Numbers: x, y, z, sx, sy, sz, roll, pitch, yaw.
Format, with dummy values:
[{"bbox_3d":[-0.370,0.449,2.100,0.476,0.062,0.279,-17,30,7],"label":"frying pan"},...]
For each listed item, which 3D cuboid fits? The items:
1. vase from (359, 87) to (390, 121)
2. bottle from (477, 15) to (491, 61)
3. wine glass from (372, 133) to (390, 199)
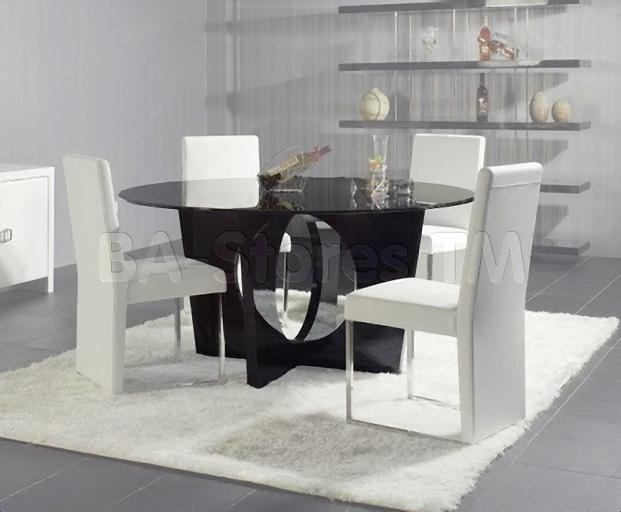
[{"bbox_3d":[0.567,-1.333,5.441,0.239,0.341,0.265,0,4,-20],"label":"vase"},{"bbox_3d":[1.468,-1.828,5.157,0.110,0.419,0.409,2,11,16],"label":"bottle"},{"bbox_3d":[0.356,-0.411,2.955,0.079,0.306,0.082,-13,16,-25],"label":"wine glass"}]
